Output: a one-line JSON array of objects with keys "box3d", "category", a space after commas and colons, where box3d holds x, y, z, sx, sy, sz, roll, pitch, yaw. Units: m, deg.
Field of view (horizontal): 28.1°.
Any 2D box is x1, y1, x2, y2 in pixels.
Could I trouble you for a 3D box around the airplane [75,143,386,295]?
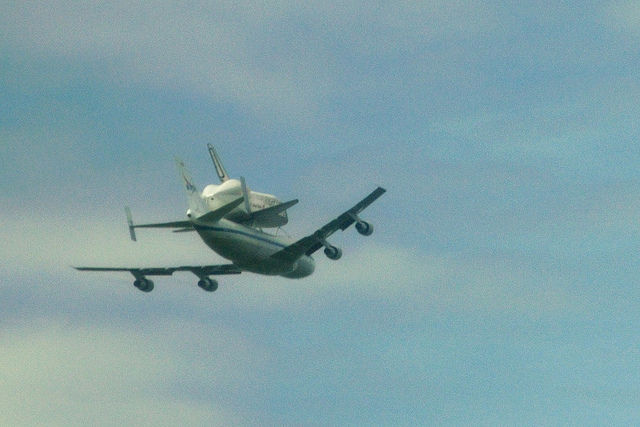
[{"box3d": [-6.525, 0.434, 104.654, 24.074, 9.647, 21.230, -17, -13, 22], "category": "airplane"}]
